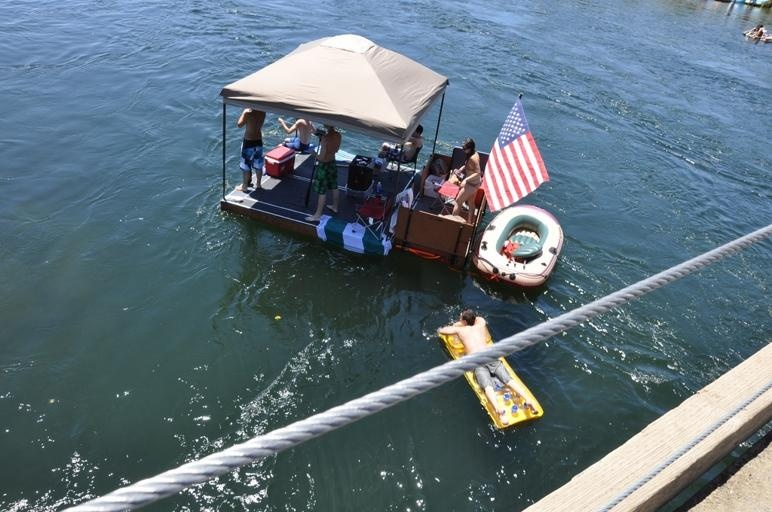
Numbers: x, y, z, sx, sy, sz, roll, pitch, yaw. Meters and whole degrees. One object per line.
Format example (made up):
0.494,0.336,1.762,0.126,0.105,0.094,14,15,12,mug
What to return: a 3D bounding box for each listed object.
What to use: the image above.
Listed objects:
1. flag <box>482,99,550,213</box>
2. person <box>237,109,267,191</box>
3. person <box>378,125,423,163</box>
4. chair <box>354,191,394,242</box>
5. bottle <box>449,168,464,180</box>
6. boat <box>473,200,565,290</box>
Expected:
3.420,-2.666,17.901,1.315,2.534,1.747,-4,43,-14,flag
-3.773,-2.970,18.553,0.698,2.789,1.014,-2,42,-11,person
0.355,-3.095,18.399,0.851,1.023,0.769,19,63,5,person
-0.473,-1.034,18.805,1.048,1.251,0.969,10,-3,4,chair
2.022,-2.352,19.313,0.368,0.124,0.370,-8,59,13,bottle
3.597,-0.273,18.250,2.090,0.827,2.508,19,42,12,boat
